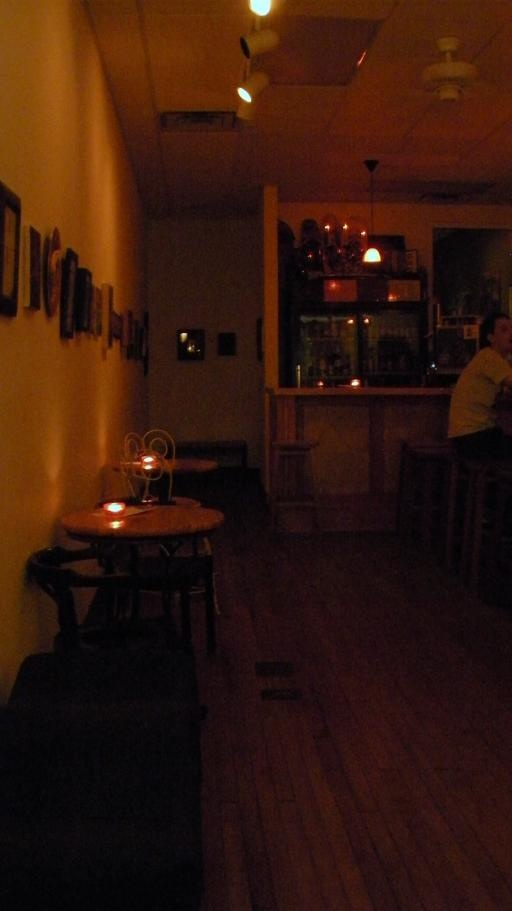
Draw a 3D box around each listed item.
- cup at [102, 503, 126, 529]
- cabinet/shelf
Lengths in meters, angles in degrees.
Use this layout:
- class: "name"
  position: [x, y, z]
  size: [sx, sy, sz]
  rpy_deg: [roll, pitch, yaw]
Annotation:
- class: "cup"
  position: [-0.441, 0.184, 1.949]
  size: [0.065, 0.070, 0.067]
  rpy_deg: [-1, 2, 0]
- class: "cabinet/shelf"
  position: [0.863, -0.099, 4.993]
  size: [1.256, 1.218, 0.891]
  rpy_deg: [-1, 23, 8]
